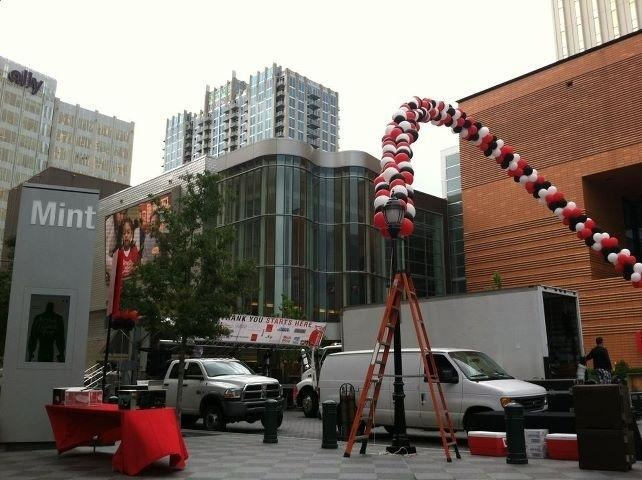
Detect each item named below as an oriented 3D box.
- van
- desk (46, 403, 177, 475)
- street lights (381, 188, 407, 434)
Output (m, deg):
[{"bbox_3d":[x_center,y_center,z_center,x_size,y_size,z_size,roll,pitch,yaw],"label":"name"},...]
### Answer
[{"bbox_3d":[3.128,4.532,15.749,6.136,2.583,3.377,-12,-16,39],"label":"van"},{"bbox_3d":[-4.324,4.151,11.681,4.387,1.200,2.590,-11,-16,37],"label":"desk"},{"bbox_3d":[1.746,1.811,12.338,0.732,5.848,0.789,-1,0,8],"label":"street lights"}]
